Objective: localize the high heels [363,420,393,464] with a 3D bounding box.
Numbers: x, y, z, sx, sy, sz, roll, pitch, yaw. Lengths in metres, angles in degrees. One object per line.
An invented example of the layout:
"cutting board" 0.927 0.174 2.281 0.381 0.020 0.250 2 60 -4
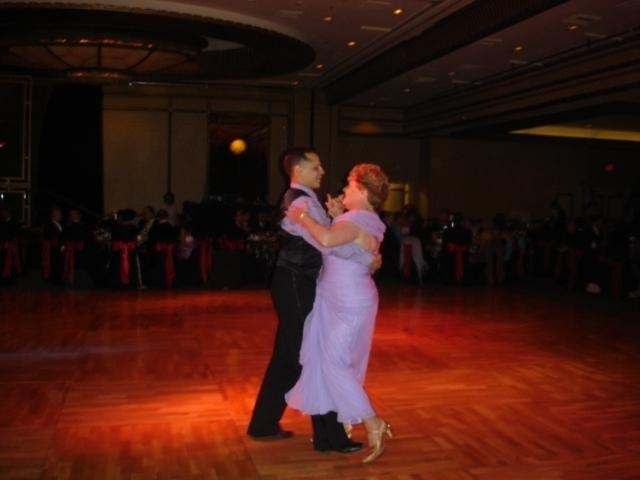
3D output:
"high heels" 0.348 1.271 3.131 0.119 0.331 0.132 12 10 5

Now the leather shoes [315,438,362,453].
"leather shoes" 0.121 1.306 3.274 0.308 0.128 0.116 -1 -6 2

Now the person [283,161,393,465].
"person" 0.126 0.455 3.090 0.646 1.835 0.392 1 4 1
